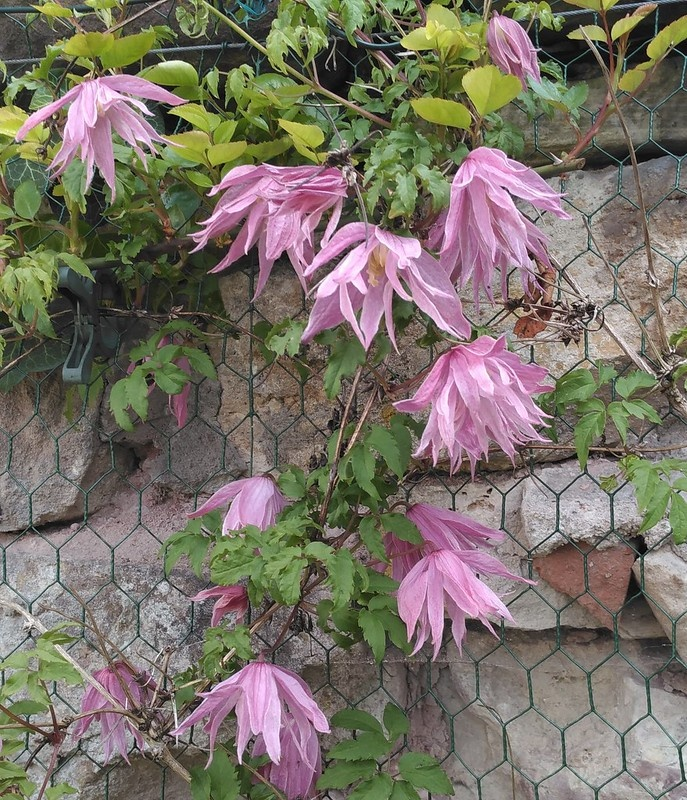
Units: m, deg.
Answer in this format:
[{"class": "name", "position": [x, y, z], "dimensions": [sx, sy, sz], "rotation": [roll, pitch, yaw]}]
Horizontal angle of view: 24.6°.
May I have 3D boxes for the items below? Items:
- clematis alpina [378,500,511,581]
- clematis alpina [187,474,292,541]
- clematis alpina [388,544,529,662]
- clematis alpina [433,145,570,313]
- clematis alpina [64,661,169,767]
[{"class": "clematis alpina", "position": [0.143, 0.213, 2.418], "dimensions": [0.238, 0.049, 0.188], "rotation": [-2, 22, 21]}, {"class": "clematis alpina", "position": [-0.141, 0.168, 2.425], "dimensions": [0.120, 0.072, 0.097], "rotation": [-22, 52, -24]}, {"class": "clematis alpina", "position": [0.149, 0.307, 2.386], "dimensions": [0.183, 0.082, 0.183], "rotation": [-44, 64, -10]}, {"class": "clematis alpina", "position": [0.221, -0.248, 2.291], "dimensions": [0.187, 0.289, 0.191], "rotation": [7, 50, 1]}, {"class": "clematis alpina", "position": [-0.392, 0.487, 2.551], "dimensions": [0.124, 0.148, 0.129], "rotation": [23, 61, -38]}]
